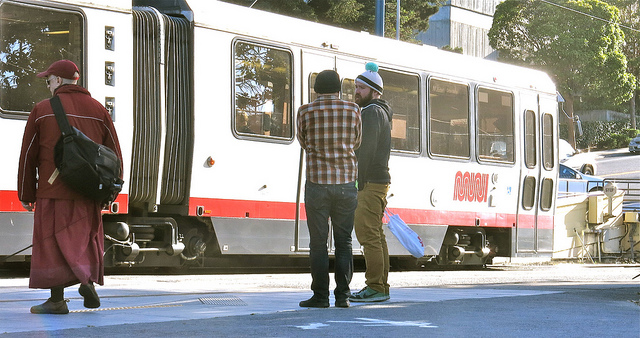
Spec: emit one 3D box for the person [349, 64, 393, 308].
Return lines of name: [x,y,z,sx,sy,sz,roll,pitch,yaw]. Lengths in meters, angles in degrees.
person: [1.039,0.385,19.308,1.100,3.858,1.065,0,0,0]

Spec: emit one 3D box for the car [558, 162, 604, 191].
car: [9.726,0.348,38.707,1.234,1.078,2.598,-3,-5,35]
